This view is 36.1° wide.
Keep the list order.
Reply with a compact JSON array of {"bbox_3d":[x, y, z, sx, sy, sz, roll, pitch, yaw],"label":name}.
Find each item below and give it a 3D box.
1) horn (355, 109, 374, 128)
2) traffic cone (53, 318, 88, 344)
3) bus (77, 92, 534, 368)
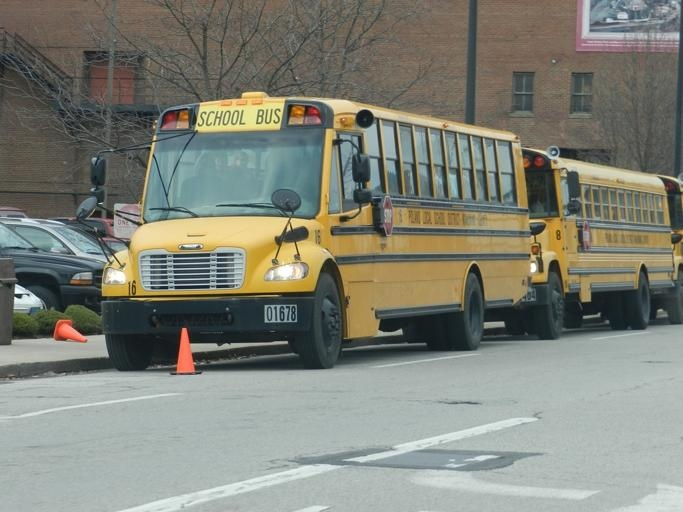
[{"bbox_3d":[0.334,-1.936,15.110,0.261,0.261,0.250,-13,-5,15],"label":"horn"},{"bbox_3d":[-4.621,1.322,17.948,0.486,0.309,0.422,9,13,24],"label":"traffic cone"},{"bbox_3d":[0.062,-0.324,17.974,3.370,3.595,9.970,-1,0,28],"label":"bus"}]
